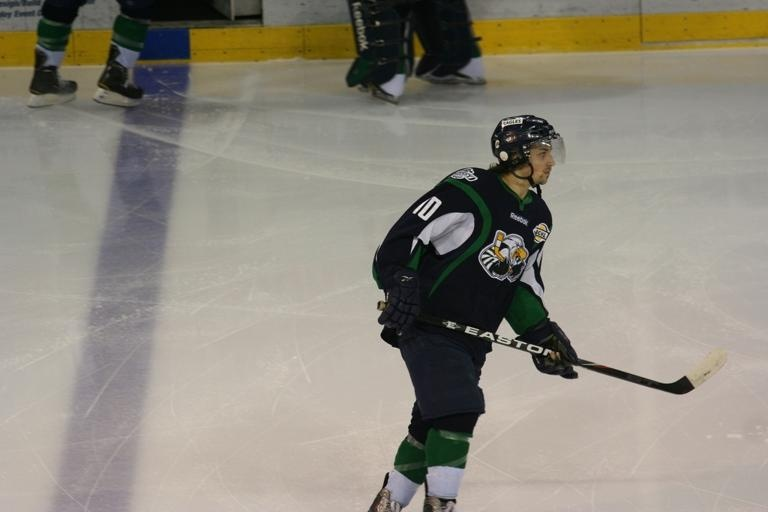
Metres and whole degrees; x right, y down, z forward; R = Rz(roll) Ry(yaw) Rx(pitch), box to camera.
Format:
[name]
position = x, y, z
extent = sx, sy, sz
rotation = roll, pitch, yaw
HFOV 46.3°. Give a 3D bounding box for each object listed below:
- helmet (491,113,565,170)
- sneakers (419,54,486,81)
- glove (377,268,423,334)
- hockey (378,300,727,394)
[helmet]
position = 0.675, -0.541, 4.251
extent = 0.394, 0.243, 0.288
rotation = 2, 14, 19
[sneakers]
position = 0.465, -1.379, 6.586
extent = 0.538, 0.190, 0.164
rotation = 2, 8, -1
[glove]
position = 0.077, 0.202, 3.981
extent = 0.175, 0.292, 0.160
rotation = 5, 13, 2
[hockey]
position = 0.797, 0.466, 4.371
extent = 1.180, 0.120, 0.147
rotation = 17, 27, -7
